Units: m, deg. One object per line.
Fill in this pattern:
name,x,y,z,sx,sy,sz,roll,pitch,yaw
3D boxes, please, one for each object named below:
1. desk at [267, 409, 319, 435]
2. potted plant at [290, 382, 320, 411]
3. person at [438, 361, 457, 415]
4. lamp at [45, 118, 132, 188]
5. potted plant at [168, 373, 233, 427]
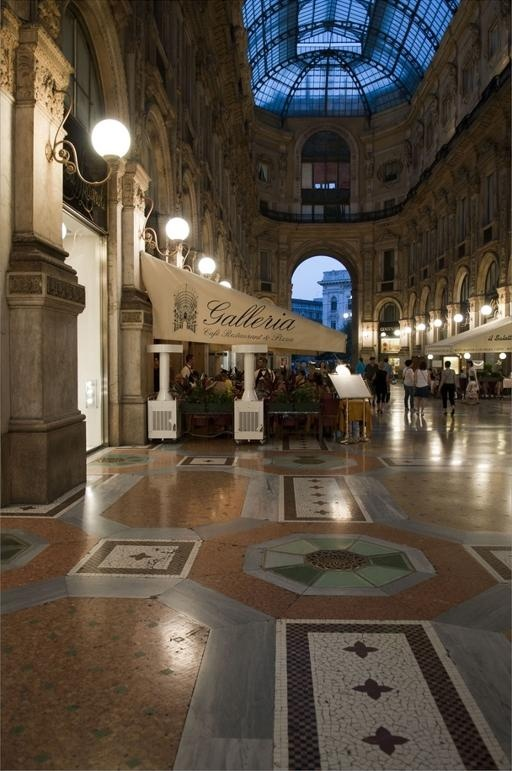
desk,0.848,0.801,11.687,1.051,0.584,2.059,0,0,3
potted plant,1.078,0.248,11.337,0.611,0.611,1.341,0,0,6
person,6.534,-0.009,17.712,0.451,1.893,0.553,-2,14,13
lamp,-1.834,-2.725,5.831,0.852,1.122,0.436,-7,-21,-6
potted plant,-1.112,0.340,11.195,1.277,1.183,1.344,0,0,-8
